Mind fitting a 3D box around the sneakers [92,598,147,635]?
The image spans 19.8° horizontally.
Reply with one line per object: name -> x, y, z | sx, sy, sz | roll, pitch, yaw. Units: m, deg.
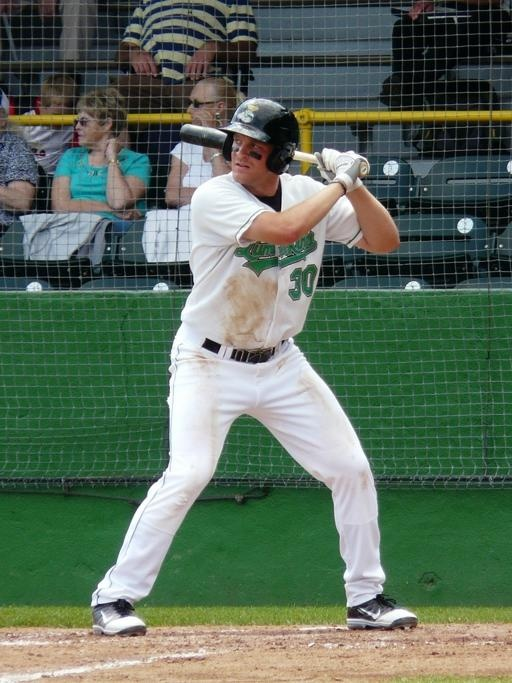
sneakers -> -0.546, 1.111, 5.859 | 0.258, 0.109, 0.104 | -12, -15, 41

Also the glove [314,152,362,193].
glove -> 0.327, -0.688, 5.860 | 0.087, 0.183, 0.197 | -25, 33, -38

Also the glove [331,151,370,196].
glove -> 0.366, -0.679, 5.822 | 0.074, 0.176, 0.130 | -36, -55, 28

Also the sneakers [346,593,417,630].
sneakers -> 0.496, 1.111, 6.005 | 0.333, 0.135, 0.120 | -1, -7, 3

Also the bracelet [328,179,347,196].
bracelet -> 0.311, -0.607, 5.705 | 0.065, 0.058, 0.073 | -1, 3, -4

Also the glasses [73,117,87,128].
glasses -> -0.955, -1.210, 8.018 | 0.056, 0.050, 0.018 | -3, -6, 38

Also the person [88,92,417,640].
person -> 0.019, 0.099, 5.911 | 1.263, 2.150, 0.481 | 1, 8, -6
